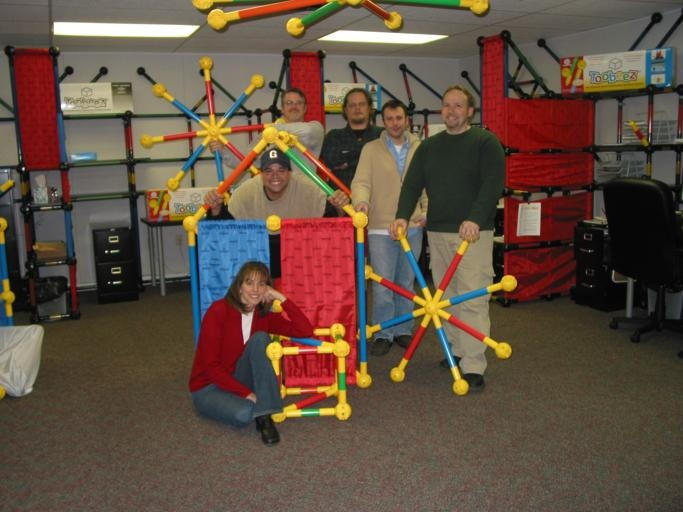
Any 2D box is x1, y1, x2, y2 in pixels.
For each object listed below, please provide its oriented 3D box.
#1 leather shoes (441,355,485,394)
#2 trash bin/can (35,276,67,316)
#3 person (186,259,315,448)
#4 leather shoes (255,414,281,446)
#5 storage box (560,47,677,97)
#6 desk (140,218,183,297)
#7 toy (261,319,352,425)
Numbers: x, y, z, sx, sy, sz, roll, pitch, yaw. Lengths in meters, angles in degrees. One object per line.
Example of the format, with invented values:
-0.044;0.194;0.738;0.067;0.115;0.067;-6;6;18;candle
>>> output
0.851;0.829;4.262;0.140;0.159;0.357;-19;23;-31;leather shoes
-2.874;0.378;6.041;0.359;0.488;0.315;0;3;-14;trash bin/can
-0.584;0.539;3.791;0.659;1.012;0.564;5;16;25;person
-0.438;1.042;3.578;0.079;0.116;0.240;-3;5;-15;leather shoes
2.537;-1.732;5.590;0.955;0.363;0.172;5;16;23;storage box
-2.044;-0.058;6.906;0.407;0.881;0.850;-6;15;-18;desk
-0.234;0.725;3.889;0.555;0.564;0.575;-1;4;-5;toy
